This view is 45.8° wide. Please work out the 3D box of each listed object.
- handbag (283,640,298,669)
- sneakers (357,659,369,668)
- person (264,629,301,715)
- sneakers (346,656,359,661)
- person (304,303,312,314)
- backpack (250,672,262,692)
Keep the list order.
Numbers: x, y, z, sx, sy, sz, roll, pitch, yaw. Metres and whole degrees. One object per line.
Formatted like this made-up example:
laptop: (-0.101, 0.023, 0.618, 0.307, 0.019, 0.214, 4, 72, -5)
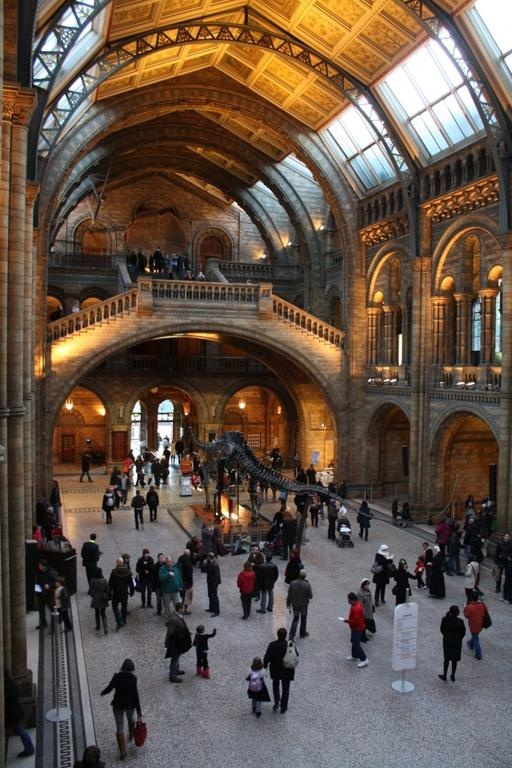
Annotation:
handbag: (0.397, 3.244, 7.253, 0.186, 0.346, 0.143, 1, -2, 27)
sneakers: (1.649, 4.284, 9.329, 0.182, 0.096, 0.247, 2, -1, 6)
person: (0.297, 3.549, 7.533, 0.397, 0.992, 0.305, 1, -4, 2)
sneakers: (1.502, 4.324, 9.535, 0.136, 0.060, 0.050, 6, 1, 40)
person: (2.370, -3.405, 27.931, 0.241, 0.454, 0.782, 2, -2, -15)
backpack: (0.010, 3.613, 7.363, 0.143, 0.276, 0.145, 2, -2, -11)
